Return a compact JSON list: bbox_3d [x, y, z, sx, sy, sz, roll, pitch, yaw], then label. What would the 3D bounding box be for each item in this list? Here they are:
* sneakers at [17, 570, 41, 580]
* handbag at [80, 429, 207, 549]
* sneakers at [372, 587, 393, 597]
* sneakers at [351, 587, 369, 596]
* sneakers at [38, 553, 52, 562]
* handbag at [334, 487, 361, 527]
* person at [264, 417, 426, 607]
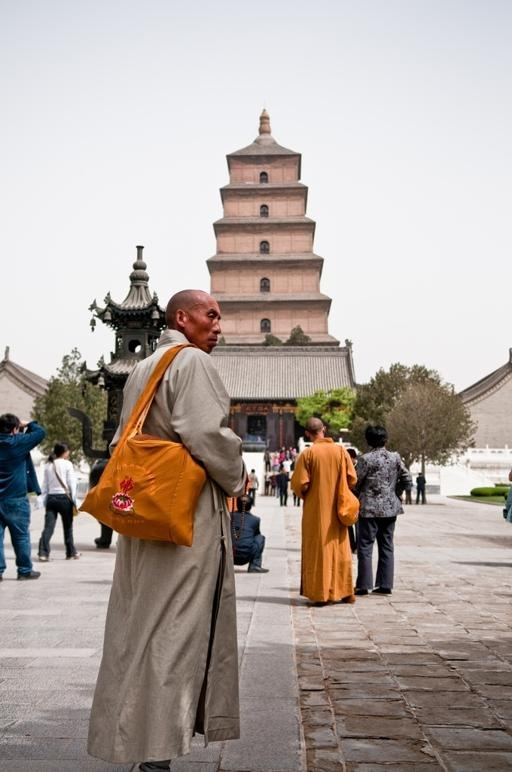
[{"bbox_3d":[-2.052,1.709,6.842,0.197,0.080,0.074,-2,5,-18],"label":"sneakers"},{"bbox_3d":[-0.382,0.332,2.440,0.403,0.290,0.165,1,-1,26],"label":"handbag"},{"bbox_3d":[1.037,1.681,6.204,0.157,0.102,0.058,5,2,30],"label":"sneakers"},{"bbox_3d":[0.863,1.701,6.253,0.050,0.098,0.141,6,-4,-30],"label":"sneakers"},{"bbox_3d":[-2.355,1.928,8.439,0.057,0.077,0.164,2,-4,4],"label":"sneakers"},{"bbox_3d":[0.687,0.926,5.788,0.106,0.264,0.208,-12,-37,20],"label":"handbag"},{"bbox_3d":[0.762,1.054,6.563,1.160,1.093,2.072,1,-2,31],"label":"person"}]
